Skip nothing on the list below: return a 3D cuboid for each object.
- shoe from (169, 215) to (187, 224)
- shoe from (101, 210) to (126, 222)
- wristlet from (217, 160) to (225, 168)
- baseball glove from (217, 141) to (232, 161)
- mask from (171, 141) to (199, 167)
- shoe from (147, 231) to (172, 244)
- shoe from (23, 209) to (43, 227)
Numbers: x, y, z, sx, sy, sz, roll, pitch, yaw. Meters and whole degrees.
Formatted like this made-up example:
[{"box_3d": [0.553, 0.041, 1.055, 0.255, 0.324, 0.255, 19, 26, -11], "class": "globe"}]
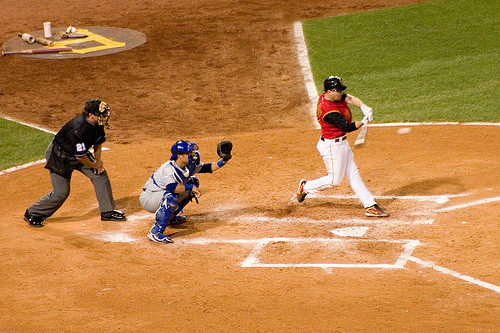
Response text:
[{"box_3d": [-1.368, 0.990, 12.204, 0.219, 0.164, 0.263, 9, 26, 31], "class": "shoe"}, {"box_3d": [-2.622, 0.958, 12.265, 0.513, 0.174, 0.186, -1, 9, 0], "class": "shoe"}, {"box_3d": [-0.538, -0.044, 11.650, 0.127, 0.081, 0.108, -23, 3, 12], "class": "wristlet"}, {"box_3d": [-0.453, -0.278, 11.625, 0.271, 0.384, 0.269, -9, 26, -2], "class": "baseball glove"}, {"box_3d": [-1.135, -0.199, 11.381, 0.446, 0.472, 0.172, -9, 28, -5], "class": "mask"}, {"box_3d": [-1.638, 1.254, 11.523, 0.488, 0.188, 0.248, -2, 23, 5], "class": "shoe"}, {"box_3d": [-4.078, 0.959, 11.983, 0.486, 0.183, 0.194, 28, 50, 13], "class": "shoe"}]
